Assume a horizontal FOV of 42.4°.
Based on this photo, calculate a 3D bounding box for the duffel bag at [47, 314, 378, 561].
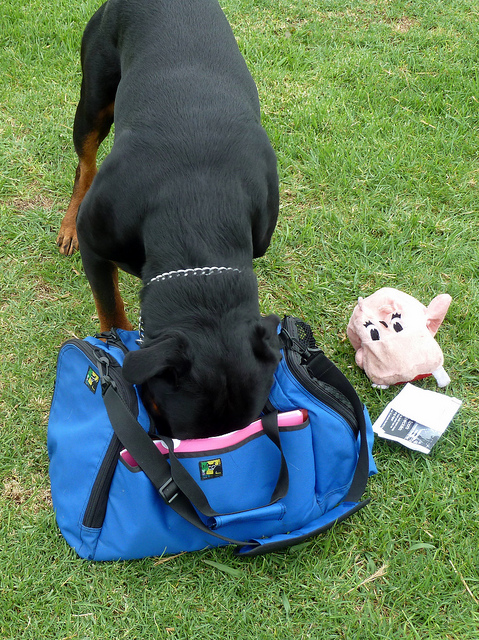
[{"bbox_3d":[-0.126,0.493,2.408,1.266,0.578,0.747,-2,39,-6],"label":"duffel bag"}]

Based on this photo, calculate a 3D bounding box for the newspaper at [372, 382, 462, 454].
[{"bbox_3d":[0.782,0.441,2.752,0.362,0.319,0.047,38,-1,-19],"label":"newspaper"}]

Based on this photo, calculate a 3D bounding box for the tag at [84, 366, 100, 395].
[{"bbox_3d":[-0.570,0.238,2.386,0.010,0.090,0.096,-1,28,-43],"label":"tag"}]

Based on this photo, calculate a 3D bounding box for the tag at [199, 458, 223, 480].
[{"bbox_3d":[-0.110,0.546,2.266,0.092,0.069,0.011,-5,11,-15],"label":"tag"}]

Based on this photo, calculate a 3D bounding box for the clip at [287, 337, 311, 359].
[{"bbox_3d":[0.247,0.120,2.576,0.101,0.023,0.074,40,15,34],"label":"clip"}]

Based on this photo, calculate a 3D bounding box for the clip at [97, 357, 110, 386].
[{"bbox_3d":[-0.512,0.194,2.333,0.063,0.027,0.091,12,60,-27],"label":"clip"}]
